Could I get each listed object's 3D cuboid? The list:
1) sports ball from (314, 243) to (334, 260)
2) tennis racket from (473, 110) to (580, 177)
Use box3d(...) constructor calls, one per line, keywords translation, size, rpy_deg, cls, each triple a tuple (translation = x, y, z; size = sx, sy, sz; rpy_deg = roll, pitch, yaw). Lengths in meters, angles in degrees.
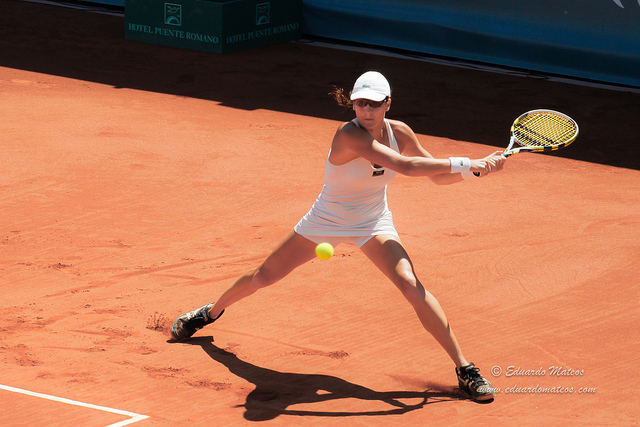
box3d(translation=(0.034, 0.303, 4.724), size=(0.127, 0.136, 0.120), rpy_deg=(11, 21, -4), cls="sports ball")
box3d(translation=(1.878, -0.621, 5.706), size=(0.506, 1.209, 0.085), rpy_deg=(49, -10, 6), cls="tennis racket")
